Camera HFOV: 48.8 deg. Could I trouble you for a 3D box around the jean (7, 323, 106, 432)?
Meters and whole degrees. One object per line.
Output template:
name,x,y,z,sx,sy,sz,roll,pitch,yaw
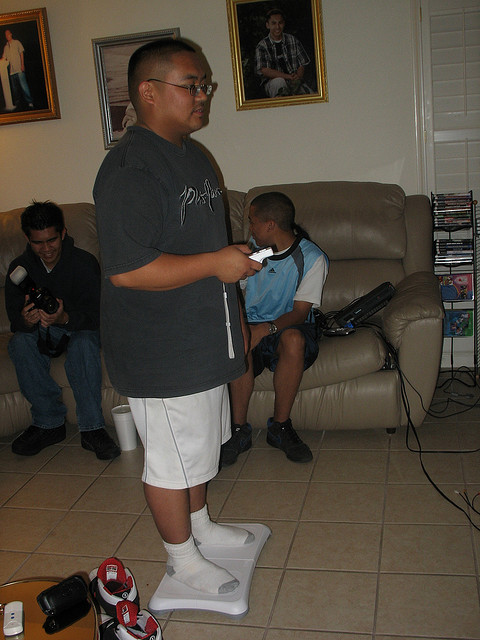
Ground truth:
jean,-0.837,0.260,2.519,0.429,0.502,0.216,-2,10,19

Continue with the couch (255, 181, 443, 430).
couch,0.621,-0.124,2.724,1.125,1.101,1.138,1,20,14

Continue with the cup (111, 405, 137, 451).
cup,-0.535,0.495,2.455,0.102,0.190,0.145,-8,10,-12

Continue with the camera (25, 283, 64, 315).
camera,-0.866,-0.105,2.392,0.163,0.095,0.147,13,66,46
